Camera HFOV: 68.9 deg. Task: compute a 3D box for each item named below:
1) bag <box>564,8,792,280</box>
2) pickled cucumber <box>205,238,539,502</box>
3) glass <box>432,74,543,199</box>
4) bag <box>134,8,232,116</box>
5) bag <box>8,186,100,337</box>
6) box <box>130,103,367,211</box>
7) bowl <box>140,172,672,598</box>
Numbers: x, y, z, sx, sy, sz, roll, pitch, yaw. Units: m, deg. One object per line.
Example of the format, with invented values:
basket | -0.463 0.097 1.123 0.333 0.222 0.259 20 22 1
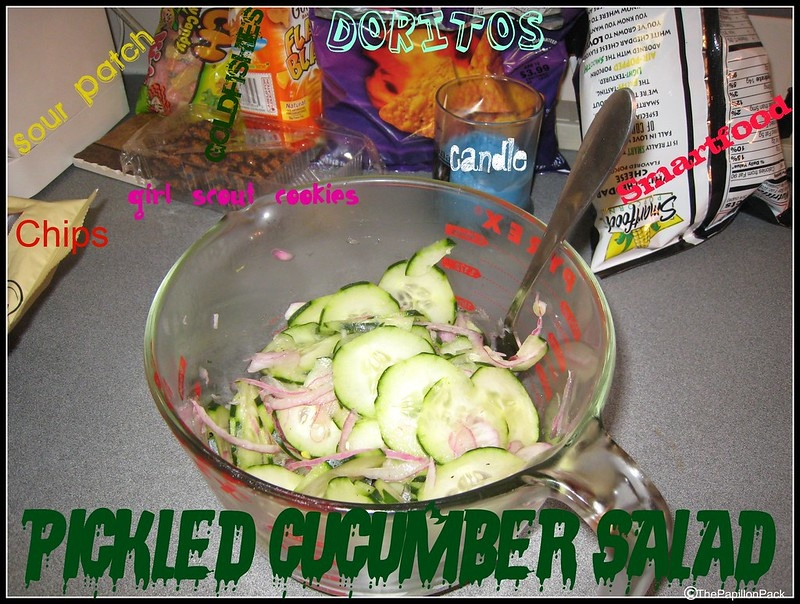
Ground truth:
bag | 0.425 -0.235 0.887 0.143 0.442 0.378 -27 24 -34
pickled cucumber | -0.013 0.074 0.617 0.285 0.082 0.251 -6 47 6
glass | 0.138 -0.278 0.995 0.155 0.187 0.184 10 47 -1
bag | -0.404 -0.456 1.101 0.186 0.198 0.051 0 18 2
bag | -0.545 -0.047 0.950 0.169 0.042 0.204 5 58 1
box | -0.275 -0.226 1.116 0.401 0.098 0.206 11 55 4
bowl | -0.016 0.092 0.663 0.470 0.263 0.494 0 60 0
